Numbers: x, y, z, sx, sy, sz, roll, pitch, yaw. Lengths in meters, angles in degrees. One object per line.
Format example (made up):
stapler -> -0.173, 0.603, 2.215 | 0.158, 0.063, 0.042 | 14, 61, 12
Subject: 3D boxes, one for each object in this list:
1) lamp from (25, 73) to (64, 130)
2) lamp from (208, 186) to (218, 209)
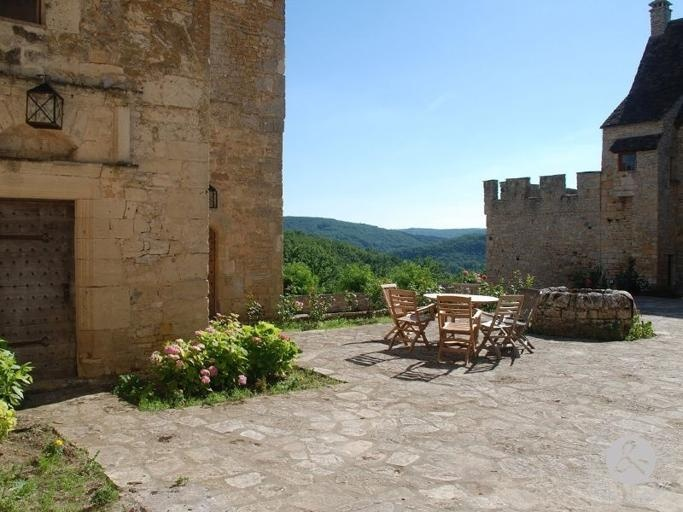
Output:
lamp -> -3.827, -2.006, 6.843 | 0.488, 0.616, 0.501 | 12, 13, 36
lamp -> -2.652, -1.212, 10.880 | 0.179, 0.478, 0.141 | -2, 8, -23
